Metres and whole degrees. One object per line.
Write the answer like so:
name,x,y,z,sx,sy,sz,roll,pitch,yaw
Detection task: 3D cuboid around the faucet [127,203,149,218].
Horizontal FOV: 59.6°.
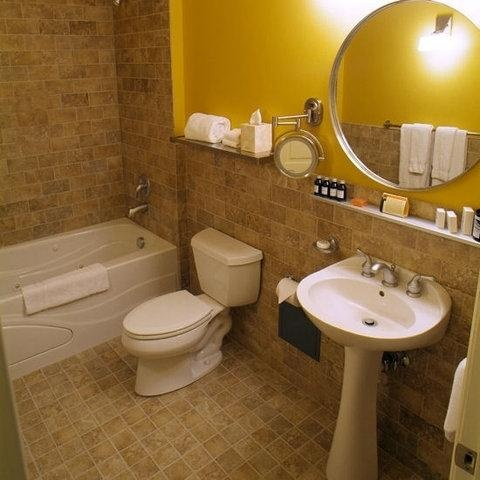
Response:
faucet,-0.829,-0.247,3.427,0.031,0.088,0.138,22,44,24

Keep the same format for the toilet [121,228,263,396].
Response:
toilet,-0.376,0.318,2.895,1.007,1.220,0.661,-15,26,-39

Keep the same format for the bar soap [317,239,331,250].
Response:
bar soap,0.422,0.013,2.105,0.041,0.021,0.047,11,27,18

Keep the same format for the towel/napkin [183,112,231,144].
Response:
towel/napkin,-0.213,-0.698,2.598,0.236,0.182,0.205,18,44,38

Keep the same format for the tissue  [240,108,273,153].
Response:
tissue ,0.085,-0.612,2.351,0.210,0.236,0.149,18,24,41

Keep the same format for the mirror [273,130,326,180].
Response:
mirror,0.314,-0.441,2.143,0.039,0.228,0.224,-15,17,-42

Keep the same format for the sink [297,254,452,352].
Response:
sink,0.525,0.252,1.752,0.503,0.228,0.607,-16,27,-42
